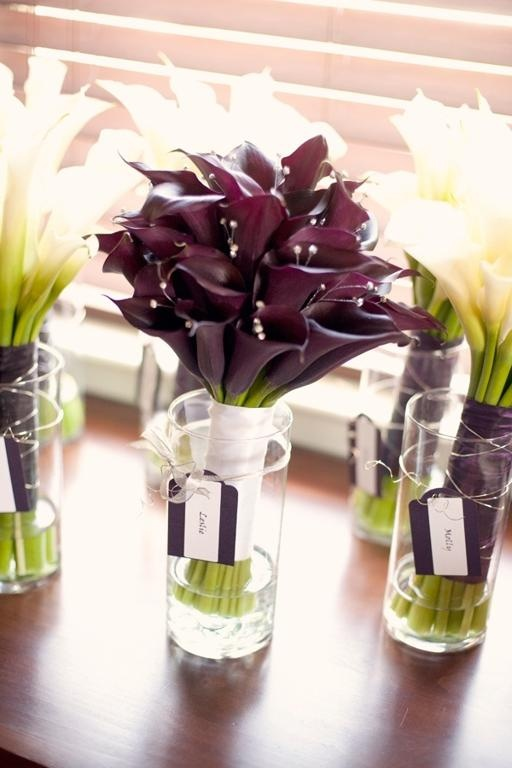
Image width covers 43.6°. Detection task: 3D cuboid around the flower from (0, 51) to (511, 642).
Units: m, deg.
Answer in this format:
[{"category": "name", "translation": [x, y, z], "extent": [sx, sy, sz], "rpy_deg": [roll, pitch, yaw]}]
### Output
[{"category": "flower", "translation": [0.069, -0.060, 0.656], "extent": [0.487, 0.474, 0.463], "rpy_deg": [-1, 30, -4]}]
